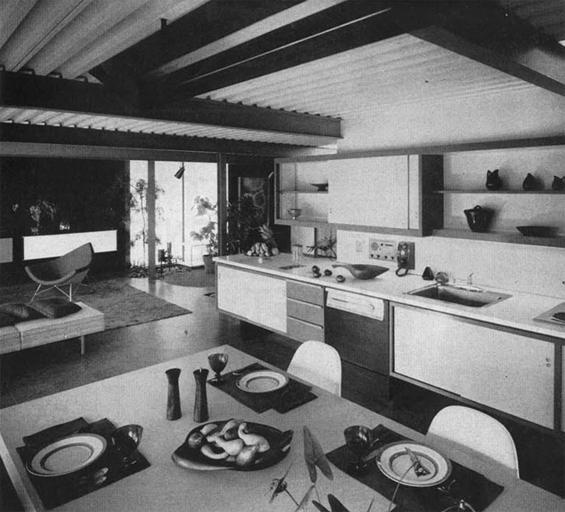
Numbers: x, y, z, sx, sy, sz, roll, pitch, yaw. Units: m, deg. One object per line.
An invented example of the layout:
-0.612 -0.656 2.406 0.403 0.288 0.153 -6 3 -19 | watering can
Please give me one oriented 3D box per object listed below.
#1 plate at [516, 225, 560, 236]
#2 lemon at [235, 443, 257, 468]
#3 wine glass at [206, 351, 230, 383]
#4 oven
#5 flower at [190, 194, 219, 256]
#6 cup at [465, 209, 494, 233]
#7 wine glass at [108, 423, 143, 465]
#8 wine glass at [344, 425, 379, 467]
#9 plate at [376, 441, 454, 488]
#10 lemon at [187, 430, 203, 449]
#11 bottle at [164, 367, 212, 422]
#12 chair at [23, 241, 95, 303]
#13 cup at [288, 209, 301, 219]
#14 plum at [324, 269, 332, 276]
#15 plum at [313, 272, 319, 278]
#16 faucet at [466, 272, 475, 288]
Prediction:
1.942 -0.192 3.484 0.295 0.074 0.144 0 11 3 | plate
-0.127 0.721 1.668 0.044 0.030 0.076 5 46 22 | lemon
-0.314 0.563 2.357 0.127 0.154 0.132 -1 -5 -6 | wine glass
0.776 0.614 4.221 0.543 0.800 0.734 0 2 -41 | oven
-1.706 -0.623 9.669 0.739 1.232 0.406 10 -2 -28 | flower
1.624 -0.296 3.904 0.189 0.253 0.214 -2 3 -34 | cup
-0.574 0.693 1.718 0.119 0.116 0.103 -3 -8 36 | wine glass
0.285 0.691 1.729 0.124 0.150 0.127 -1 -3 -1 | wine glass
0.475 0.748 1.689 0.266 0.045 0.242 -5 12 -19 | plate
-0.329 0.704 1.775 0.054 0.030 0.069 7 13 32 | lemon
-0.420 0.626 2.066 0.200 0.219 0.083 0 -2 4 | bottle
-3.466 0.243 7.431 0.914 0.916 0.945 4 3 26 | chair
0.157 -0.507 5.558 0.115 0.092 0.120 -2 2 0 | cup
0.444 0.158 4.482 0.070 0.050 0.122 0 11 5 | plum
0.330 0.179 4.436 0.064 0.033 0.081 0 11 5 | plum
1.632 0.208 4.012 0.111 0.130 0.039 3 6 32 | faucet
